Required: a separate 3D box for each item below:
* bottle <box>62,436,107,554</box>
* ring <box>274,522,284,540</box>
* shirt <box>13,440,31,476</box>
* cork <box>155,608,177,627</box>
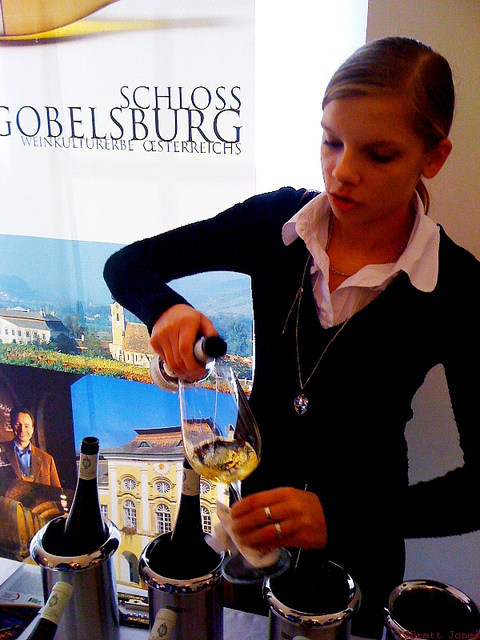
[{"bbox_3d":[-0.222,0.239,0.823,0.060,0.161,0.161,-1,-1,-18],"label":"bottle"},{"bbox_3d":[0.051,0.282,0.769,0.011,0.015,0.015,-1,-1,3],"label":"ring"},{"bbox_3d":[-1.015,0.663,2.771,0.095,0.154,0.102,0,20,-5],"label":"shirt"},{"bbox_3d":[-0.078,0.317,0.621,0.020,0.014,0.021,18,-42,-17],"label":"cork"}]
